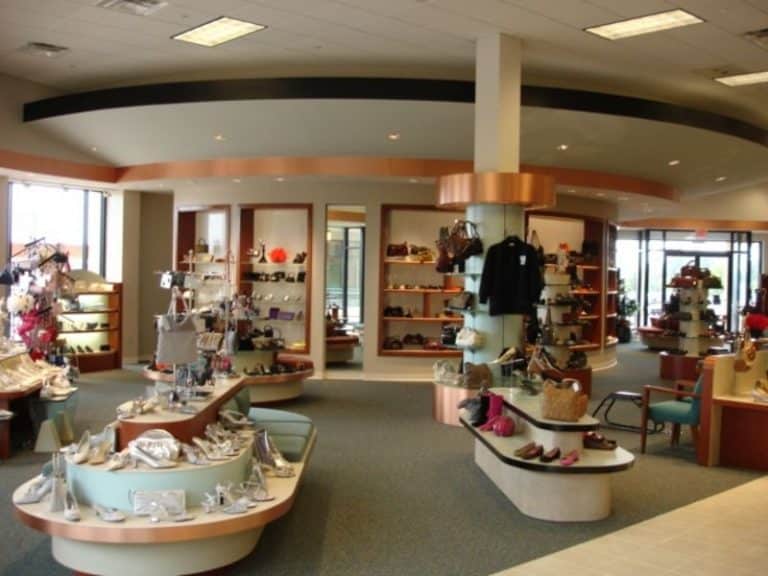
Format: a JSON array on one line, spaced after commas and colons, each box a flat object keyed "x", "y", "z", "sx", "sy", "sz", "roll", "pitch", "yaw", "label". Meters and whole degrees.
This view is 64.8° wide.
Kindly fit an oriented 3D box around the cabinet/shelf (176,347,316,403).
[{"x": -1.690, "y": 1.090, "z": 7.564, "sx": 1.676, "sy": 0.499, "sz": 1.532, "roll": 0, "pitch": 1, "yaw": -5, "label": "cabinet/shelf"}]

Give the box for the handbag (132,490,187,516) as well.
[{"x": -1.598, "y": 1.509, "z": 4.277, "sx": 0.363, "sy": 0.161, "sz": 0.113, "roll": 0, "pitch": 3, "yaw": -11, "label": "handbag"}]

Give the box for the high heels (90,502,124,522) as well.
[{"x": -1.917, "y": 1.560, "z": 4.234, "sx": 0.184, "sy": 0.061, "sz": 0.107, "roll": -1, "pitch": -4, "yaw": 30, "label": "high heels"}]

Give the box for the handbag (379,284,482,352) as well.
[{"x": 0.750, "y": 0.625, "z": 12.145, "sx": 1.658, "sy": 1.342, "sz": 0.803, "roll": 1, "pitch": 3, "yaw": -3, "label": "handbag"}]

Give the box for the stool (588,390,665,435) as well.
[{"x": 3.392, "y": 1.687, "z": 8.828, "sx": 1.243, "sy": 0.589, "sz": 0.667, "roll": 4, "pitch": 4, "yaw": 40, "label": "stool"}]

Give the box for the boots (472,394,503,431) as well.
[{"x": 1.213, "y": 1.357, "z": 6.715, "sx": 0.470, "sy": 0.421, "sz": 0.235, "roll": 1, "pitch": -1, "yaw": 10, "label": "boots"}]

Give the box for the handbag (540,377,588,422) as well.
[{"x": 1.728, "y": 1.024, "z": 5.794, "sx": 0.464, "sy": 0.379, "sz": 0.409, "roll": 0, "pitch": -2, "yaw": 32, "label": "handbag"}]

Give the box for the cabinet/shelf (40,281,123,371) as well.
[{"x": -5.638, "y": 0.694, "z": 11.197, "sx": 0.752, "sy": 1.762, "sz": 2.007, "roll": 0, "pitch": -1, "yaw": 18, "label": "cabinet/shelf"}]

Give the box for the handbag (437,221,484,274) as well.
[{"x": 1.129, "y": -0.594, "z": 8.753, "sx": 0.841, "sy": 0.727, "sz": 0.630, "roll": 6, "pitch": 7, "yaw": 37, "label": "handbag"}]

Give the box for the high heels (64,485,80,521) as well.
[{"x": -2.194, "y": 1.518, "z": 4.252, "sx": 0.093, "sy": 0.093, "sz": 0.264, "roll": -1, "pitch": 12, "yaw": -28, "label": "high heels"}]
